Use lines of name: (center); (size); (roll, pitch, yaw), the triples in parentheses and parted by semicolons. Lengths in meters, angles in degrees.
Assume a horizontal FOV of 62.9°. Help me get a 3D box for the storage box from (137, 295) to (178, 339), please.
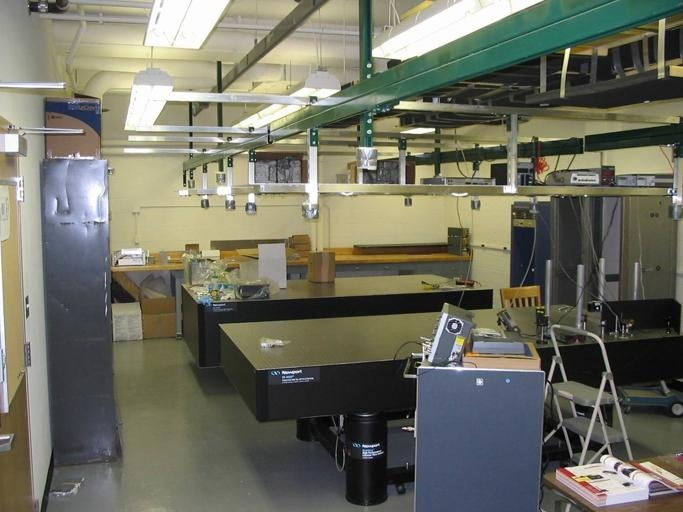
storage box: (-3.059, 0.775, 9.141); (0.534, 0.669, 0.980); (-2, 7, -18)

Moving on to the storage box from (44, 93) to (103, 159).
storage box: (-2.401, -1.151, 4.948); (0.466, 0.532, 0.198); (-5, 10, -29)

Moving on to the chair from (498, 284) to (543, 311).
chair: (2.229, 0.555, 7.007); (0.474, 0.321, 0.771); (2, 9, 18)

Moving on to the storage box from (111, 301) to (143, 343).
storage box: (-3.438, 1.021, 8.965); (0.657, 0.667, 0.486); (0, 9, -15)

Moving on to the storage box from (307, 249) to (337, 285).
storage box: (-0.336, 0.133, 8.243); (0.537, 0.531, 0.395); (-1, 6, -10)
